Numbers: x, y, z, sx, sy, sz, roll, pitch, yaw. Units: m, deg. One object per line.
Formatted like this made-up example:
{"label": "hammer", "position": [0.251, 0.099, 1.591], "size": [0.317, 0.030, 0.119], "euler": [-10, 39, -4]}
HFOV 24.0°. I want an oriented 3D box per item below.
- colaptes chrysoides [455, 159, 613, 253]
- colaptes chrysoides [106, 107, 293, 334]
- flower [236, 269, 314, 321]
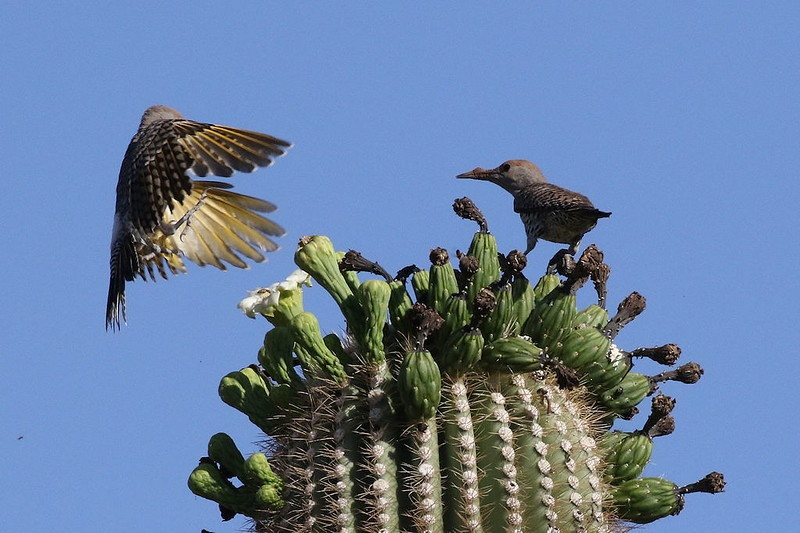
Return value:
{"label": "colaptes chrysoides", "position": [1.094, -0.420, 15.088], "size": [0.493, 0.765, 1.261], "euler": [15, -22, -38]}
{"label": "colaptes chrysoides", "position": [-1.667, -0.453, 15.061], "size": [1.067, 0.824, 1.491], "euler": [-24, -17, -11]}
{"label": "flower", "position": [-1.111, 0.271, 15.270], "size": [0.552, 0.126, 0.562], "euler": [-10, -13, 3]}
